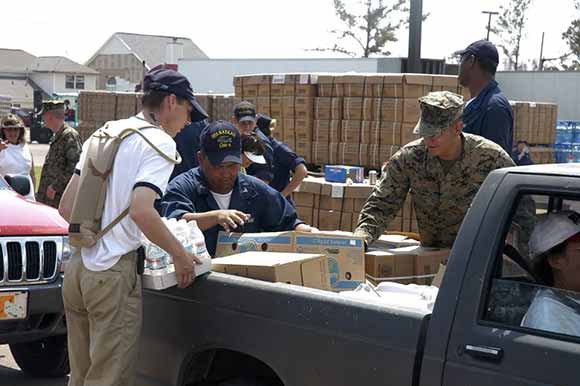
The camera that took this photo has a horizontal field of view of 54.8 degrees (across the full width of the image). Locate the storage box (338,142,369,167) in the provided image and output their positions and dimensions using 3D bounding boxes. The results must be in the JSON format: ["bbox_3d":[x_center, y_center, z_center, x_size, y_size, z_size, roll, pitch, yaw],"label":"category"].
[{"bbox_3d":[1.132,-0.656,9.853,0.618,0.380,0.445,5,2,19],"label":"storage box"}]

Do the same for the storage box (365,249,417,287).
[{"bbox_3d":[0.740,0.544,4.149,0.368,0.234,0.268,-2,20,-8],"label":"storage box"}]

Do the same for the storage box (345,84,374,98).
[{"bbox_3d":[1.197,-1.752,9.631,0.441,0.244,0.134,7,15,30],"label":"storage box"}]

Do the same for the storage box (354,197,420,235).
[{"bbox_3d":[0.968,0.228,5.650,0.262,0.371,0.485,2,0,-24],"label":"storage box"}]

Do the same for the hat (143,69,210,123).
[{"bbox_3d":[-0.805,-0.734,3.989,0.442,0.236,0.307,19,-4,-21],"label":"hat"}]

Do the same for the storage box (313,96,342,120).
[{"bbox_3d":[0.699,-1.512,9.992,0.414,0.436,0.289,2,5,26],"label":"storage box"}]

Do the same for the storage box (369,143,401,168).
[{"bbox_3d":[1.645,-0.675,9.628,0.613,0.438,0.335,9,9,41],"label":"storage box"}]

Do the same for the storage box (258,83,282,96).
[{"bbox_3d":[-0.373,-1.940,10.625,0.077,0.214,0.615,-9,13,-41],"label":"storage box"}]

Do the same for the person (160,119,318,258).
[{"bbox_3d":[-0.466,-0.047,5.009,0.900,1.625,0.920,-18,34,-24],"label":"person"}]

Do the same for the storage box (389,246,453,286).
[{"bbox_3d":[1.002,0.507,4.244,0.311,0.209,0.325,0,2,31],"label":"storage box"}]

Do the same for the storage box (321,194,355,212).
[{"bbox_3d":[0.692,0.153,8.250,0.419,0.231,0.206,4,-2,25],"label":"storage box"}]

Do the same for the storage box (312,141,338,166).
[{"bbox_3d":[0.636,-0.701,10.166,0.611,0.370,0.440,2,6,24],"label":"storage box"}]

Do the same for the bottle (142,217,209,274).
[{"bbox_3d":[-0.737,0.355,3.626,0.363,0.284,0.373,-1,1,0],"label":"bottle"}]

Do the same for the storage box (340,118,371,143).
[{"bbox_3d":[1.149,-1.076,9.769,0.616,0.460,0.360,4,2,43],"label":"storage box"}]

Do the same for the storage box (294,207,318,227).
[{"bbox_3d":[0.254,0.362,8.604,0.299,0.236,0.296,1,0,36],"label":"storage box"}]

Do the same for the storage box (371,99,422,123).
[{"bbox_3d":[1.790,-1.365,9.272,0.559,0.318,0.433,3,4,25],"label":"storage box"}]

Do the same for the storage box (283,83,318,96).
[{"bbox_3d":[0.166,-1.882,10.276,0.641,0.214,0.188,5,11,26],"label":"storage box"}]

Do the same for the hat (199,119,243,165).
[{"bbox_3d":[-0.565,-0.414,4.485,0.240,0.203,0.371,-6,26,-21],"label":"hat"}]

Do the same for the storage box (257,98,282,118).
[{"bbox_3d":[-0.373,-1.643,10.668,0.551,0.389,0.362,2,1,39],"label":"storage box"}]

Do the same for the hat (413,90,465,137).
[{"bbox_3d":[1.165,-0.611,4.379,0.379,0.348,0.283,0,10,0],"label":"hat"}]

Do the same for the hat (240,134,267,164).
[{"bbox_3d":[-0.387,-0.457,5.998,0.316,0.179,0.213,37,5,13],"label":"hat"}]

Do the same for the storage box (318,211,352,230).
[{"bbox_3d":[0.664,0.409,8.280,0.268,0.322,0.455,4,-3,-39],"label":"storage box"}]

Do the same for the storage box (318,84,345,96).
[{"bbox_3d":[0.730,-1.814,9.933,0.395,0.243,0.191,4,-5,18],"label":"storage box"}]

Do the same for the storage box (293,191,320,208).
[{"bbox_3d":[0.246,0.109,8.678,0.406,0.274,0.224,4,6,39],"label":"storage box"}]

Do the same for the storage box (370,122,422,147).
[{"bbox_3d":[1.759,-0.990,9.350,0.468,0.302,0.467,5,6,44],"label":"storage box"}]

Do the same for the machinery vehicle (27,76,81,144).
[{"bbox_3d":[-15.006,-4.688,34.947,2.640,3.164,1.990,-3,2,-35],"label":"machinery vehicle"}]
